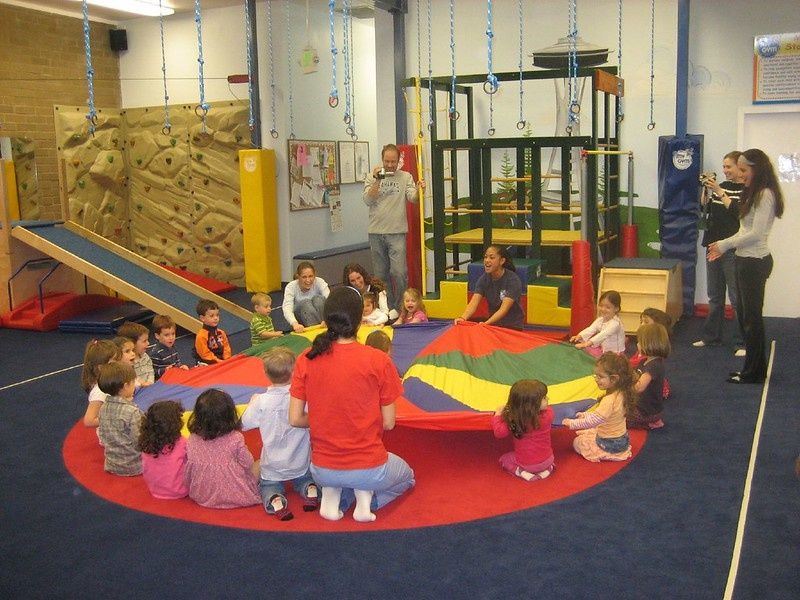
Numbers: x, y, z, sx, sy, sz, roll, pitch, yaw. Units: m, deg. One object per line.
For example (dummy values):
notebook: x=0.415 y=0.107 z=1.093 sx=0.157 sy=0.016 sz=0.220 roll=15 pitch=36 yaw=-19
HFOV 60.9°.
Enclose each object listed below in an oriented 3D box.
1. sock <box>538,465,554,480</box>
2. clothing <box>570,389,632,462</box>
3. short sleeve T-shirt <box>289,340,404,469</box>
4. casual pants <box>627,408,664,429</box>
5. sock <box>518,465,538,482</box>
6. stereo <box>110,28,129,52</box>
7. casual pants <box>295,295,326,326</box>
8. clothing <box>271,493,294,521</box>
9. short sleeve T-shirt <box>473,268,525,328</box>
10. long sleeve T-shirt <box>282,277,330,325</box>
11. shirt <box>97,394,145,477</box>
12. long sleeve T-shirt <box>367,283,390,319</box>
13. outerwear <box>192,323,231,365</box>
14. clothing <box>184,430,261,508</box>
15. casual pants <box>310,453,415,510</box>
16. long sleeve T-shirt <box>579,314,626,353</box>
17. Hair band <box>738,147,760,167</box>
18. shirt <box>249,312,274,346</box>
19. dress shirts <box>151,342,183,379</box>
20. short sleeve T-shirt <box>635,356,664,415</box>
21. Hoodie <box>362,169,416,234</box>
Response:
sock: x=0.864 y=1.022 z=4.070 sx=0.085 sy=0.069 sz=0.025 roll=-26 pitch=46 yaw=-32
clothing: x=1.277 y=0.776 z=4.355 sx=0.411 sy=0.618 sz=0.425 roll=2 pitch=7 yaw=23
short sleeve T-shirt: x=-0.291 y=0.527 z=3.600 sx=0.617 sy=0.666 sz=0.376 roll=0 pitch=6 yaw=9
casual pants: x=1.678 y=0.831 z=4.654 sx=0.189 sy=0.112 sz=0.268 roll=-2 pitch=-2 yaw=-1
sock: x=0.748 y=1.026 z=4.017 sx=0.094 sy=0.068 sz=0.039 roll=17 pitch=-11 yaw=7
stereo: x=-4.325 y=-4.005 z=10.414 sx=0.285 sy=0.436 sz=0.222 roll=0 pitch=2 yaw=3
casual pants: x=-0.811 y=0.101 z=6.136 sx=0.233 sy=0.154 sz=0.411 roll=-12 pitch=1 yaw=-20
clothing: x=-0.651 y=1.130 z=3.701 sx=0.074 sy=0.099 sz=0.127 roll=-13 pitch=19 yaw=-38
short sleeve T-shirt: x=0.873 y=-0.015 z=5.892 sx=0.300 sy=0.522 sz=0.426 roll=-18 pitch=16 yaw=-40
long sleeve T-shirt: x=-0.918 y=-0.029 z=6.182 sx=0.413 sy=0.588 sz=0.545 roll=-4 pitch=2 yaw=-19
shirt: x=-1.711 y=0.820 z=4.139 sx=0.323 sy=0.519 sz=0.102 roll=4 pitch=15 yaw=19
long sleeve T-shirt: x=-0.251 y=0.006 z=6.226 sx=0.098 sy=0.276 sz=0.262 roll=-19 pitch=20 yaw=-1
outerwear: x=-1.547 y=0.381 z=5.642 sx=0.211 sy=0.348 sz=0.277 roll=4 pitch=11 yaw=45
clothing: x=-1.034 y=0.914 z=3.882 sx=0.430 sy=0.514 sz=0.315 roll=1 pitch=14 yaw=-1
casual pants: x=-0.226 y=0.955 z=3.926 sx=0.573 sy=0.253 sz=0.750 roll=-1 pitch=5 yaw=-9
long sleeve T-shirt: x=1.600 y=0.275 z=5.513 sx=0.351 sy=0.388 sz=0.273 roll=4 pitch=-3 yaw=-10
Hair band: x=2.627 y=-1.080 z=5.150 sx=0.107 sy=0.114 sz=0.089 roll=2 pitch=15 yaw=13
shirt: x=-1.225 y=0.260 z=5.951 sx=0.166 sy=0.275 sz=0.271 roll=-5 pitch=9 yaw=8
dress shirts: x=-1.838 y=0.475 z=5.317 sx=0.165 sy=0.256 sz=0.236 roll=-3 pitch=7 yaw=15
short sleeve T-shirt: x=1.690 y=0.591 z=4.615 sx=0.201 sy=0.391 sz=0.370 roll=3 pitch=7 yaw=24
Hoodie: x=-0.092 y=-1.043 z=7.253 sx=0.602 sy=0.738 sz=0.407 roll=4 pitch=-4 yaw=19
